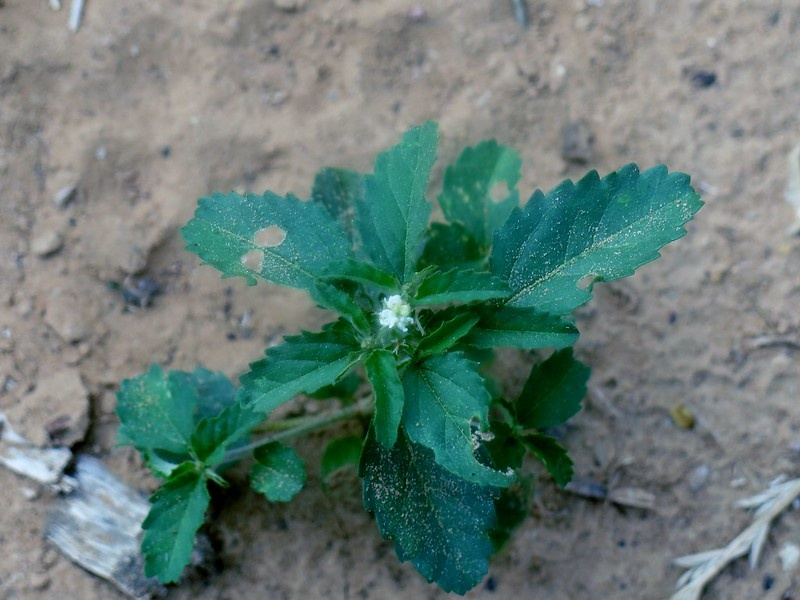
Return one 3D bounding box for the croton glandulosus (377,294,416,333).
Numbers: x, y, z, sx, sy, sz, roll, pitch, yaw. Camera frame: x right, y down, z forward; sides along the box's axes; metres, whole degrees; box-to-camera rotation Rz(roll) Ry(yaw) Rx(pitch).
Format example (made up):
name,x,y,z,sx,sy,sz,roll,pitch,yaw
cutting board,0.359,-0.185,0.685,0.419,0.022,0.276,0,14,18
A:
name,x,y,z,sx,sy,sz,roll,pitch,yaw
croton glandulosus,-0.021,0.082,4.991,0.185,0.170,0.170,-8,65,-1
